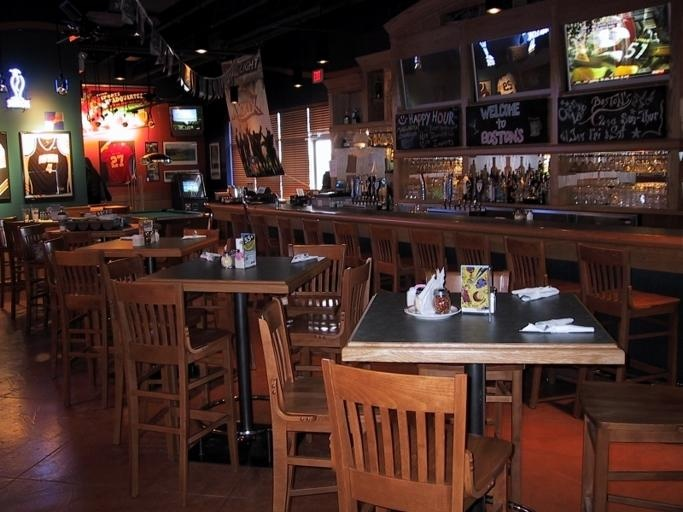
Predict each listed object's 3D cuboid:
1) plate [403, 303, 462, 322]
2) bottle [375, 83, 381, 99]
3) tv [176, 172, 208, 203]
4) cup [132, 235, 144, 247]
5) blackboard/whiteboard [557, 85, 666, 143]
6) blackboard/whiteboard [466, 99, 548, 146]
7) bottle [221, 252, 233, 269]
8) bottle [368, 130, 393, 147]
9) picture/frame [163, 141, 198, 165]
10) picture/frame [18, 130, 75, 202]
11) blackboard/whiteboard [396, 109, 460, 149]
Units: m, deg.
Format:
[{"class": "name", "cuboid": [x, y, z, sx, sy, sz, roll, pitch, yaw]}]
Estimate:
[{"class": "plate", "cuboid": [0.474, 0.290, 2.830, 0.289, 0.035, 0.172, -2, 12, 0]}, {"class": "bottle", "cuboid": [0.623, -2.731, 9.188, 0.039, 0.243, 0.136, -14, 18, -42]}, {"class": "tv", "cuboid": [-3.728, -1.705, 13.795, 0.676, 0.700, 0.885, -6, 13, -16]}, {"class": "cup", "cuboid": [-1.790, -0.133, 4.916, 0.101, 0.073, 0.099, 0, 9, 0]}, {"class": "blackboard/whiteboard", "cuboid": [2.952, -1.533, 6.111, 0.112, 0.580, 1.198, -12, 16, -35]}, {"class": "blackboard/whiteboard", "cuboid": [2.109, -1.687, 7.116, 0.064, 0.569, 1.211, -13, 16, -38]}, {"class": "bottle", "cuboid": [-0.793, 0.041, 3.908, 0.097, 0.095, 0.095, 1, 5, -2]}, {"class": "bottle", "cuboid": [0.652, -1.952, 9.260, 0.169, 0.290, 0.577, -11, 15, -34]}, {"class": "picture/frame", "cuboid": [-4.801, -3.063, 16.389, 1.333, 0.911, 0.035, -1, 3, -15]}, {"class": "picture/frame", "cuboid": [-5.389, -1.640, 10.166, 0.167, 1.218, 0.883, 9, 17, 41]}, {"class": "blackboard/whiteboard", "cuboid": [1.255, -1.832, 8.074, 0.104, 0.597, 1.155, -14, 17, -42]}]
